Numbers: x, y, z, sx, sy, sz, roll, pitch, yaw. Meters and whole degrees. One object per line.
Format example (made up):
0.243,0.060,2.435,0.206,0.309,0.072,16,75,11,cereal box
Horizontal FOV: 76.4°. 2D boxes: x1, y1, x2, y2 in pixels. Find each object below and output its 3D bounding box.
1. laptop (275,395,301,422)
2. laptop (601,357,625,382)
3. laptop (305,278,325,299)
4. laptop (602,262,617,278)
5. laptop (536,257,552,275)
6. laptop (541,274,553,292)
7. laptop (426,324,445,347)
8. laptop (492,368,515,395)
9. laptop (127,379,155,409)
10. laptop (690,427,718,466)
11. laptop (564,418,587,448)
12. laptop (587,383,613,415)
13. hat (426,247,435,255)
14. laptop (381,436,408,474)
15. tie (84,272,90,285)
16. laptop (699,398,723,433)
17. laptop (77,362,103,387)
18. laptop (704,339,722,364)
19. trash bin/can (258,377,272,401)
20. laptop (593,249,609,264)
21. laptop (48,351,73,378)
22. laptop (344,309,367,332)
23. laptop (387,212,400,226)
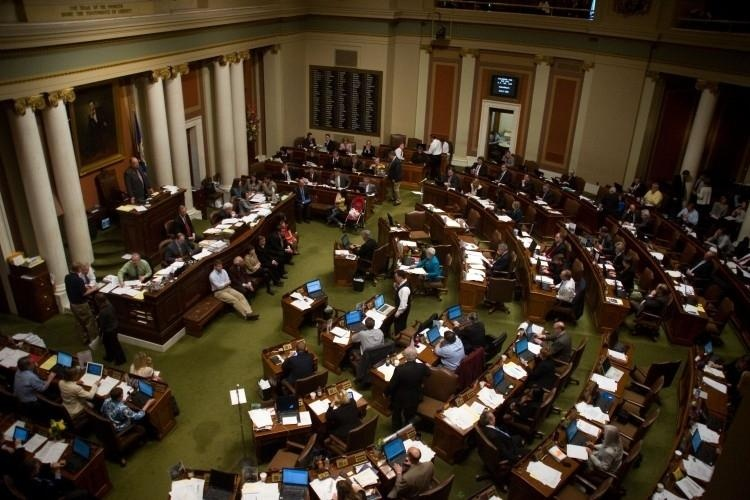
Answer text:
-1.909,3.461,10.454,0.468,0.537,0.377,1,11,-9,laptop
5.833,2.966,11.718,0.389,0.324,0.519,3,38,48,laptop
-1.761,1.089,13.785,0.525,0.465,0.387,-11,43,-8,laptop
7.474,0.669,15.236,0.393,0.155,0.650,5,46,-6,laptop
5.398,0.592,15.444,0.457,0.189,0.709,16,38,11,laptop
5.267,0.991,14.651,0.388,0.106,0.428,24,45,32,laptop
1.561,2.187,12.384,0.513,0.327,0.406,-25,52,-39,laptop
3.032,3.087,11.312,0.590,0.325,0.505,-17,29,-40,laptop
-5.298,3.177,10.723,0.667,0.421,0.445,11,23,18,laptop
7.020,4.162,10.174,0.548,0.196,0.787,17,46,13,laptop
4.296,3.944,10.249,0.365,0.339,0.515,14,45,31,laptop
5.229,3.438,11.033,0.505,0.527,0.541,16,55,25,laptop
1.736,0.016,14.909,0.180,0.187,0.236,11,29,8,hat
0.453,4.072,9.690,0.553,0.552,0.368,-8,24,-25,laptop
-7.839,0.800,13.040,0.165,0.239,0.063,15,21,28,tie
7.628,3.816,10.746,0.479,0.136,0.533,9,40,20,laptop
-6.512,2.915,10.995,0.457,0.326,0.489,8,30,-7,laptop
9.071,2.746,12.872,0.375,0.368,0.524,17,38,30,laptop
-2.626,3.376,11.581,0.271,0.524,0.313,-2,22,-13,trash bin/can
7.450,0.196,15.815,0.326,0.140,0.514,-2,42,-10,laptop
-7.247,2.646,11.013,0.399,0.367,0.303,18,25,0,laptop
-0.525,1.870,12.696,0.611,0.465,0.417,-3,68,-22,laptop
0.710,-1.223,18.501,0.373,0.474,0.485,-21,44,-21,laptop
